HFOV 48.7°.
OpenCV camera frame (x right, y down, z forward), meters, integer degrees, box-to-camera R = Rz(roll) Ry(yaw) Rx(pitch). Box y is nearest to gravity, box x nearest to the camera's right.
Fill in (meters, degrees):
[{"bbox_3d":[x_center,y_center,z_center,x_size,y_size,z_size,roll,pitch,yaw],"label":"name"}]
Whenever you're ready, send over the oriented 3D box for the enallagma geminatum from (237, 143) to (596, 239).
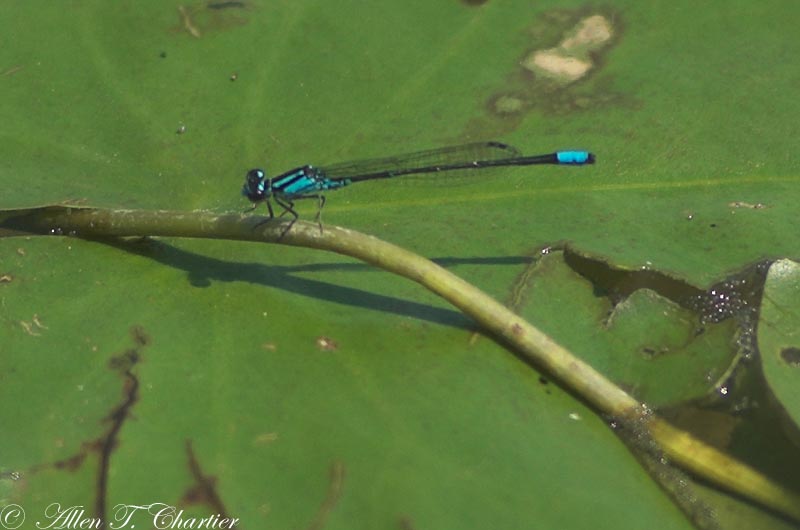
[{"bbox_3d":[0.090,-1.244,11.355,4.192,1.062,0.872,-5,58,-19],"label":"enallagma geminatum"}]
